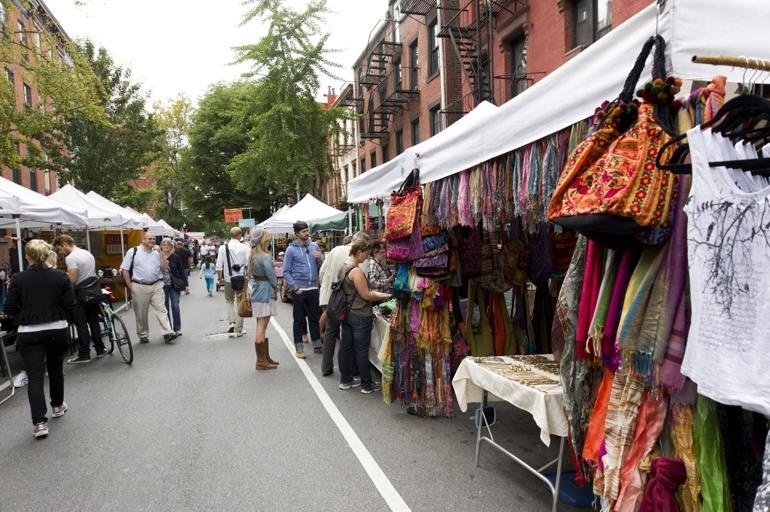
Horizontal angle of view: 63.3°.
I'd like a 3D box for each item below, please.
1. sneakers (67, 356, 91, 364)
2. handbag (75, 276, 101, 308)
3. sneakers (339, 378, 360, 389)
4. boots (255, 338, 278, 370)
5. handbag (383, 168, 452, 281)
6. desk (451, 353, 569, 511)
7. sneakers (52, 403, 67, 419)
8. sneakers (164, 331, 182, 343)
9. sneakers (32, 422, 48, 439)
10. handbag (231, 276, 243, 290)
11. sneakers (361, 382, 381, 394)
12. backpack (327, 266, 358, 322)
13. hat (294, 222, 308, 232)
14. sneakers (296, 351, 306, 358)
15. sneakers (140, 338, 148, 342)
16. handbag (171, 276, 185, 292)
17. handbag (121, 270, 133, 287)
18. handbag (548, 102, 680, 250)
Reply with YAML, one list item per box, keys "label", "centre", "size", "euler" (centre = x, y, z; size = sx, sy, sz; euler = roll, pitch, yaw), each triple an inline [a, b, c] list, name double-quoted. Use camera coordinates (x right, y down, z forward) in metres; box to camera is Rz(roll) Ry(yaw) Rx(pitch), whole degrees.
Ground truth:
- label: "sneakers"
  centre: [-5.233, 1.771, 10.668]
  size: [0.360, 0.163, 0.131]
  euler: [4, -1, -8]
- label: "handbag"
  centre: [-4.966, 0.599, 10.447]
  size: [0.420, 0.452, 0.328]
  euler: [-19, -6, 35]
- label: "sneakers"
  centre: [-0.510, 1.849, 9.137]
  size: [0.333, 0.151, 0.115]
  euler: [-13, 13, -43]
- label: "boots"
  centre: [-1.880, 1.555, 9.985]
  size: [0.382, 0.557, 0.391]
  euler: [-1, 0, -13]
- label: "handbag"
  centre: [0.426, -0.380, 7.678]
  size: [0.536, 1.528, 1.021]
  euler: [-12, 18, -38]
- label: "desk"
  centre: [1.444, 1.779, 6.693]
  size: [0.832, 1.275, 1.528]
  euler: [-7, 13, -31]
- label: "sneakers"
  centre: [-4.241, 2.009, 8.185]
  size: [0.090, 0.121, 0.242]
  euler: [-2, 6, 5]
- label: "sneakers"
  centre: [-4.107, 1.542, 11.924]
  size: [0.312, 0.145, 0.111]
  euler: [-30, -24, 36]
- label: "sneakers"
  centre: [-4.196, 2.095, 7.613]
  size: [0.176, 0.179, 0.190]
  euler: [-8, 13, -33]
- label: "handbag"
  centre: [-2.971, 0.519, 12.517]
  size: [0.208, 0.245, 0.124]
  euler: [1, 8, 8]
- label: "sneakers"
  centre: [-0.198, 1.865, 8.952]
  size: [0.317, 0.155, 0.114]
  euler: [-5, 7, -41]
- label: "backpack"
  centre: [-0.628, 0.538, 8.880]
  size: [0.380, 0.800, 0.365]
  euler: [12, -10, -23]
- label: "hat"
  centre: [-1.408, -0.495, 10.364]
  size: [0.192, 0.172, 0.193]
  euler: [-11, 10, 15]
- label: "sneakers"
  centre: [-1.442, 1.658, 10.656]
  size: [0.145, 0.162, 0.081]
  euler: [-1, 14, -23]
- label: "sneakers"
  centre: [-4.597, 1.593, 11.928]
  size: [0.074, 0.069, 0.149]
  euler: [2, -8, -39]
- label: "handbag"
  centre: [-4.157, 0.554, 12.489]
  size: [0.232, 0.223, 0.139]
  euler: [2, 33, 23]
- label: "handbag"
  centre: [-4.682, 0.450, 11.355]
  size: [0.070, 0.312, 0.286]
  euler: [-15, 28, -29]
- label: "handbag"
  centre: [1.940, -0.674, 5.195]
  size: [0.616, 1.256, 0.833]
  euler: [23, -2, -44]
